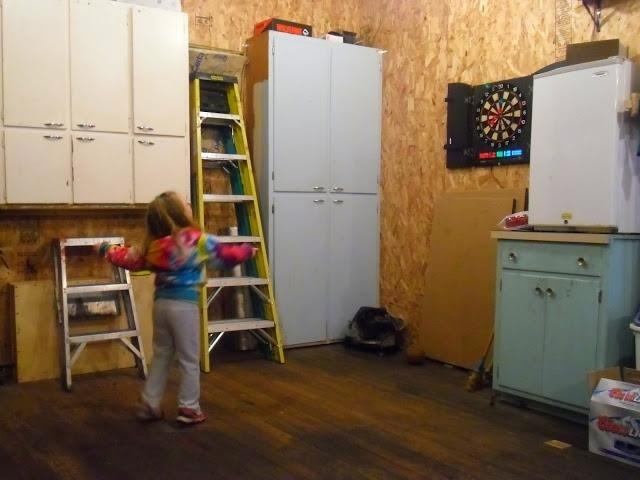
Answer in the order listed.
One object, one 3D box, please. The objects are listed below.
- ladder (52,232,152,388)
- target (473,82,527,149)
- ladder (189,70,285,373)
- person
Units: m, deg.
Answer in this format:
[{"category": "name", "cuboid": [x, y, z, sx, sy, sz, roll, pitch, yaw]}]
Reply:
[{"category": "ladder", "cuboid": [-1.938, 0.617, 4.539, 0.668, 1.179, 0.568, -4, -8, -29]}, {"category": "target", "cuboid": [1.558, -1.075, 4.445, 0.034, 0.619, 0.615, -1, 4, -39]}, {"category": "ladder", "cuboid": [-0.894, -0.179, 5.004, 0.733, 2.910, 0.678, -4, 0, -23]}, {"category": "person", "cuboid": [-1.018, 0.449, 3.584, 1.124, 1.528, 0.393, 1, 3, -2]}]
